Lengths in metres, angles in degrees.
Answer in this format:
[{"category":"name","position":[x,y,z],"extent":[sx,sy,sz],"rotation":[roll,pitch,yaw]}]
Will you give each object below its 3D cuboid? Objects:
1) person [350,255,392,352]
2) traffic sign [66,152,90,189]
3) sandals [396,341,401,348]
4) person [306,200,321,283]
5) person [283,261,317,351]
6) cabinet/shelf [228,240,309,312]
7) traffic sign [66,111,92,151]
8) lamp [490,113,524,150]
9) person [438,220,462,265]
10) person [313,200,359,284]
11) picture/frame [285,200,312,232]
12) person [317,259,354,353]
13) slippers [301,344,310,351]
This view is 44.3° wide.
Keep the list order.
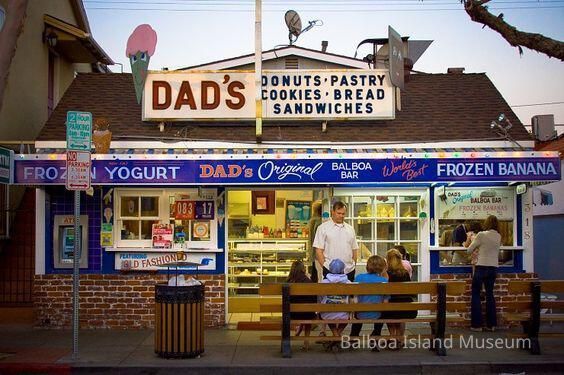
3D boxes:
[{"category":"person","position":[1.927,2.433,14.736],"extent":[0.983,1.842,0.879],"rotation":[-1,-1,0]},{"category":"traffic sign","position":[-4.181,-0.329,14.235],"extent":[0.487,0.843,0.346],"rotation":[-3,11,-15]},{"category":"sandals","position":[2.505,3.378,14.757],"extent":[0.122,0.123,0.135],"rotation":[0,-4,1]},{"category":"person","position":[0.807,1.338,17.410],"extent":[0.536,1.664,0.394],"rotation":[5,-12,-17]},{"category":"person","position":[0.458,2.592,15.076],"extent":[0.737,1.940,1.003],"rotation":[-2,-15,2]},{"category":"cabinet/shelf","position":[-0.615,2.333,18.423],"extent":[1.923,1.862,2.612],"rotation":[2,-1,10]},{"category":"traffic sign","position":[-4.197,-1.158,14.368],"extent":[0.543,0.806,0.324],"rotation":[-5,12,-24]},{"category":"lamp","position":[5.477,-1.429,17.031],"extent":[0.586,1.124,1.414],"rotation":[-2,2,26]},{"category":"person","position":[4.176,1.366,16.818],"extent":[0.313,0.782,0.592],"rotation":[16,-9,-14]},{"category":"person","position":[1.248,1.739,15.609],"extent":[1.195,2.707,0.803],"rotation":[3,-4,-12]},{"category":"picture/frame","position":[0.466,0.796,18.549],"extent":[0.819,1.051,0.110],"rotation":[3,-15,-2]},{"category":"person","position":[1.149,2.505,14.853],"extent":[0.828,1.918,0.811],"rotation":[1,-6,2]},{"category":"slippers","position":[0.500,3.415,14.677],"extent":[0.204,0.189,0.090],"rotation":[8,-13,1]}]
